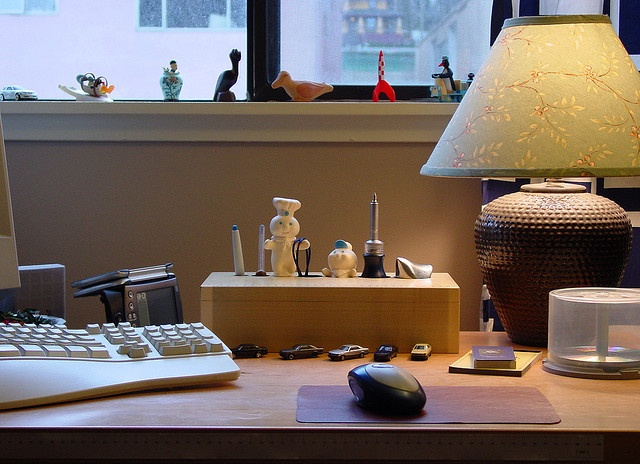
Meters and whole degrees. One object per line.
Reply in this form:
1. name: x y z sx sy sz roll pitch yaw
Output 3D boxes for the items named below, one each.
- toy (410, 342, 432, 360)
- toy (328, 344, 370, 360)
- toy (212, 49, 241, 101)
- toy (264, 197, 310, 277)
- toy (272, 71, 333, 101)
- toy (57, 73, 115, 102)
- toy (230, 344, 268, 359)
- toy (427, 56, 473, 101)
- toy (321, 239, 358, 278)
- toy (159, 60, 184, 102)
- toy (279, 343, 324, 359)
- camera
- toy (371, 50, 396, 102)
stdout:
1. toy: 0.214 0.253 1.615 0.029 0.020 0.060 -1 0 7
2. toy: 0.061 0.250 1.606 0.072 0.022 0.032 1 -3 -23
3. toy: -0.257 -0.412 2.118 0.077 0.147 0.137 -1 5 -6
4. toy: -0.092 0.018 1.818 0.085 0.177 0.074 1 5 9
5. toy: -0.046 -0.375 2.103 0.164 0.077 0.161 0 5 -1
6. toy: -0.627 -0.368 2.055 0.125 0.065 0.082 2 12 5
7. toy: -0.148 0.253 1.612 0.067 0.021 0.030 3 4 -8
8. toy: 0.366 -0.398 2.106 0.112 0.112 0.076 4 12 7
9. toy: 0.050 0.066 1.810 0.081 0.081 0.111 1 5 14
10. toy: -0.410 -0.395 2.103 0.057 0.106 0.076 -1 5 -12
11. toy: -0.039 0.255 1.609 0.078 0.026 0.034 2 -1 -14
12. camera: -0.441 0.157 1.802 0.148 0.151 0.223 -5 -3 24
13. toy: 0.179 -0.418 2.131 0.064 0.157 0.152 0 5 5
